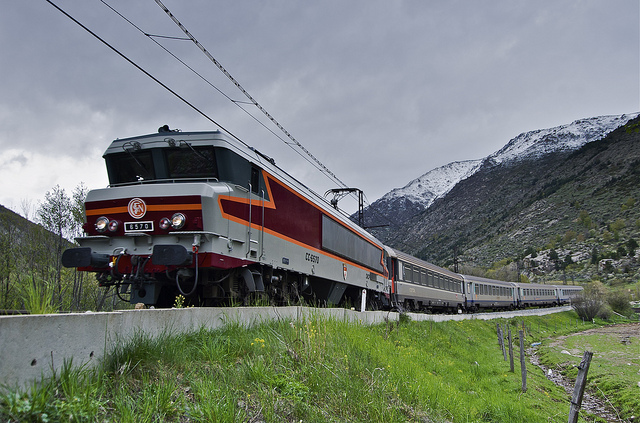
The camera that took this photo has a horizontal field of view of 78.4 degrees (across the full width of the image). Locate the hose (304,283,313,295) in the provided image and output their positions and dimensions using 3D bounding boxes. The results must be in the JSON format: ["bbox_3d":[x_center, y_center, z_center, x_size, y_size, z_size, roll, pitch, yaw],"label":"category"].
[{"bbox_3d":[-0.460,2.748,14.025,0.352,0.493,0.043,40,-59,-21],"label":"hose"}]

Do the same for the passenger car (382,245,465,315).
[{"bbox_3d":[8.051,6.094,30.788,2.047,4.312,13.367,-12,-21,39],"label":"passenger car"}]

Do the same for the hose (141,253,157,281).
[{"bbox_3d":[-4.026,1.317,9.302,0.351,0.638,0.264,2,-17,-23],"label":"hose"}]

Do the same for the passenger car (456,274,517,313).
[{"bbox_3d":[19.463,9.847,46.358,12.485,3.811,2.033,13,-15,-40],"label":"passenger car"}]

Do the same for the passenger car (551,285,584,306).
[{"bbox_3d":[50.961,17.202,80.617,3.627,5.926,21.754,-8,-14,31],"label":"passenger car"}]

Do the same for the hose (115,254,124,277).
[{"bbox_3d":[-4.756,1.259,9.368,0.187,0.544,0.398,0,-17,-16],"label":"hose"}]
